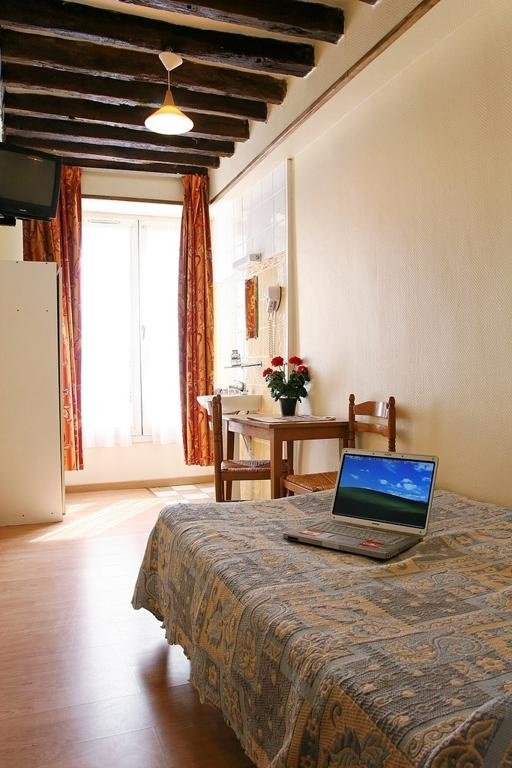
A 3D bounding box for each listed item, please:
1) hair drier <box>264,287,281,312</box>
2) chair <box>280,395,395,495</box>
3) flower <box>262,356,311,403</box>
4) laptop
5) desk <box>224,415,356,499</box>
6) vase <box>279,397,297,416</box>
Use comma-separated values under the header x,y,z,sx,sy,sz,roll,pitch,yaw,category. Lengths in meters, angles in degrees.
x,y,z,sx,sy,sz,roll,pitch,yaw,category
0.120,-0.587,3.873,0.082,0.178,0.120,-5,35,-14,hair drier
0.402,0.428,2.733,0.424,0.759,0.431,1,2,-31,chair
0.204,-0.029,3.656,0.277,0.312,0.297,-3,4,9,flower
0.311,0.269,1.575,0.285,0.246,0.312,-2,3,-44,laptop
0.141,0.460,3.332,0.434,0.568,0.735,1,1,-24,desk
0.203,0.144,3.543,0.097,0.094,0.108,3,3,33,vase
